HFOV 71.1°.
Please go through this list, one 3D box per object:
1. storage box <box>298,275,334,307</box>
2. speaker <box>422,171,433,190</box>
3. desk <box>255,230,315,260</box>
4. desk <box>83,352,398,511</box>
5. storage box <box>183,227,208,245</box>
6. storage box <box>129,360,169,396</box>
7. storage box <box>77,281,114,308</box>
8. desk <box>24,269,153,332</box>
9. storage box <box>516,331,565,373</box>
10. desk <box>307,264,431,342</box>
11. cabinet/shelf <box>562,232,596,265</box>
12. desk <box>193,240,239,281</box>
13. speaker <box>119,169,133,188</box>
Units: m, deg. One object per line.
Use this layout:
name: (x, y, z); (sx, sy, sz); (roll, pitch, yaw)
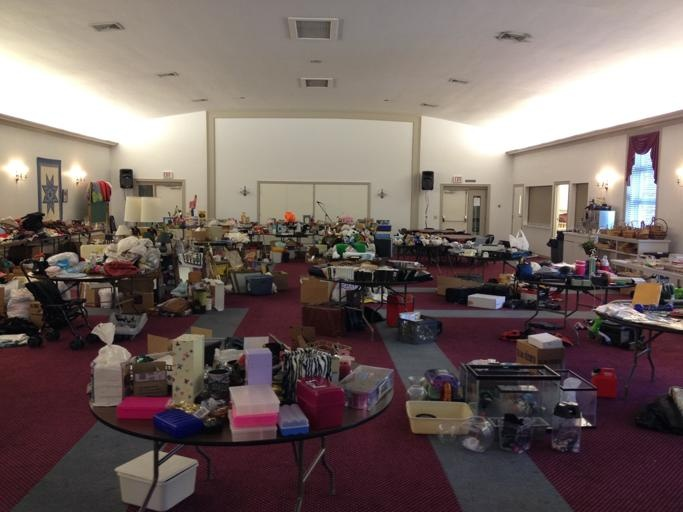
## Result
storage box: (-0.402, 0.564, 7.795); (0.549, 0.356, 0.512); (4, 7, 18)
speaker: (2.942, -2.590, 16.228); (0.401, 0.612, 0.292); (1, 7, 6)
desk: (-1.499, -0.292, 13.586); (1.732, 0.774, 1.348); (-1, 7, -16)
desk: (-0.553, 1.158, 2.947); (1.708, 0.956, 1.075); (1, 7, 3)
storage box: (-3.331, -0.474, 11.112); (0.604, 0.314, 0.555); (2, 5, 4)
storage box: (-1.105, 0.722, 2.850); (0.225, 0.186, 0.205); (0, 3, -1)
storage box: (-3.828, 0.598, 7.516); (0.521, 0.423, 0.429); (4, 9, 4)
desk: (-3.381, 0.555, 6.887); (1.457, 0.374, 1.222); (0, 1, 1)
storage box: (2.080, 0.905, 4.997); (0.382, 0.420, 0.482); (-3, 6, -17)
desk: (0.250, 0.537, 6.613); (1.332, 0.506, 1.301); (0, 6, -4)
cabinet/shelf: (5.162, -0.210, 10.350); (0.347, 0.701, 0.813); (-2, 6, -8)
desk: (-2.465, 0.103, 9.775); (0.910, 0.658, 2.143); (-2, 7, -17)
speaker: (-7.140, -2.589, 15.952); (0.443, 0.633, 0.508); (-2, 7, -17)
